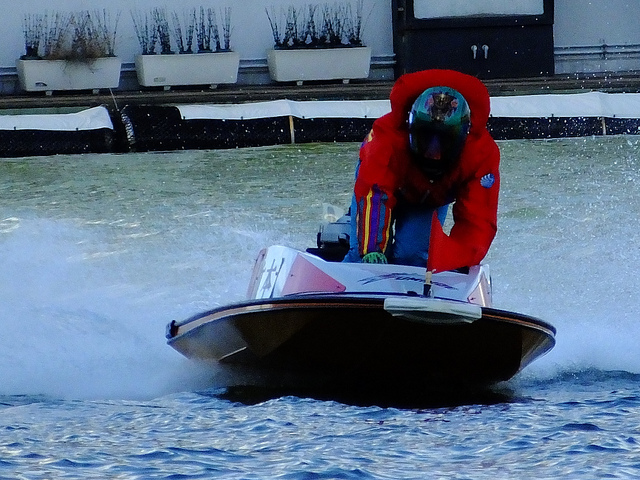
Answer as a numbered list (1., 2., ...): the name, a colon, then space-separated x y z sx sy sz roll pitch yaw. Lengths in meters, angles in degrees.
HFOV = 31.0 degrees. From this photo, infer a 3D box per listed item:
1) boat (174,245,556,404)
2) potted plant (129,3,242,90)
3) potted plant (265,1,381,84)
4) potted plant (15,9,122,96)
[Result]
1. boat: 0.256 0.524 7.413 2.374 0.894 2.820 4 -6 -9
2. potted plant: -1.930 -2.664 15.904 1.394 1.035 0.509 0 -3 -14
3. potted plant: -0.055 -2.792 16.279 1.381 0.920 0.510 -1 2 -12
4. potted plant: -3.460 -2.497 15.535 1.406 1.096 0.506 1 -4 -16
